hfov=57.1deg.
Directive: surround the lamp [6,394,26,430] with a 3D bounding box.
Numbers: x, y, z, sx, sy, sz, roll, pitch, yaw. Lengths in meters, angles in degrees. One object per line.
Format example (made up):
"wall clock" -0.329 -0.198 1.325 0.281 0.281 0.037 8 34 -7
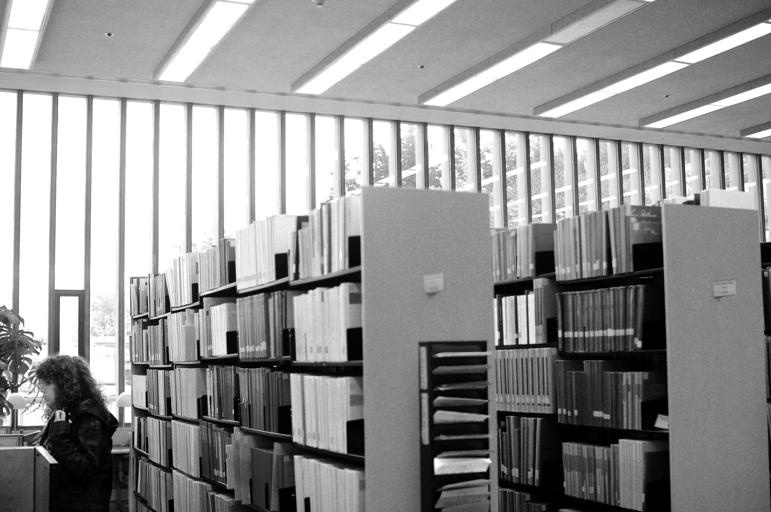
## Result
"lamp" -4.278 1.815 8.202 0.181 0.435 0.790 6 -11 -26
